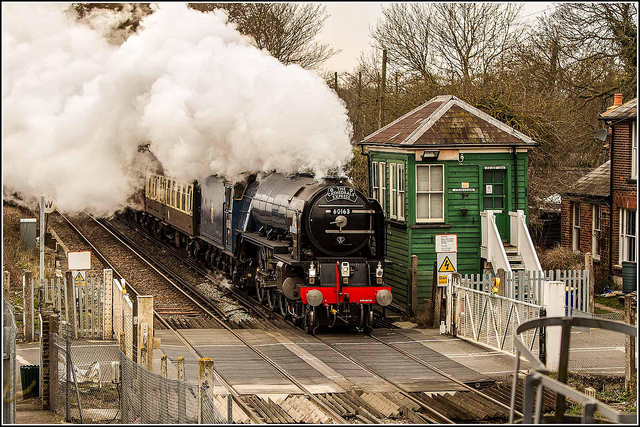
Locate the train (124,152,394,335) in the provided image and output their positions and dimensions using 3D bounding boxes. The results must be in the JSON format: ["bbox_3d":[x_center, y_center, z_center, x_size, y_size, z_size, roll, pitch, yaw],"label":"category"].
[{"bbox_3d":[-3.066,0.145,22.107,2.809,3.768,16.371,1,7,-29],"label":"train"}]

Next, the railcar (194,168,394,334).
[{"bbox_3d":[-1.129,0.846,17.625,2.206,4.260,7.898,-2,6,-31],"label":"railcar"}]

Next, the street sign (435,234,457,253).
[{"bbox_3d":[3.769,0.880,17.740,0.525,0.433,0.072,-2,4,-9],"label":"street sign"}]
